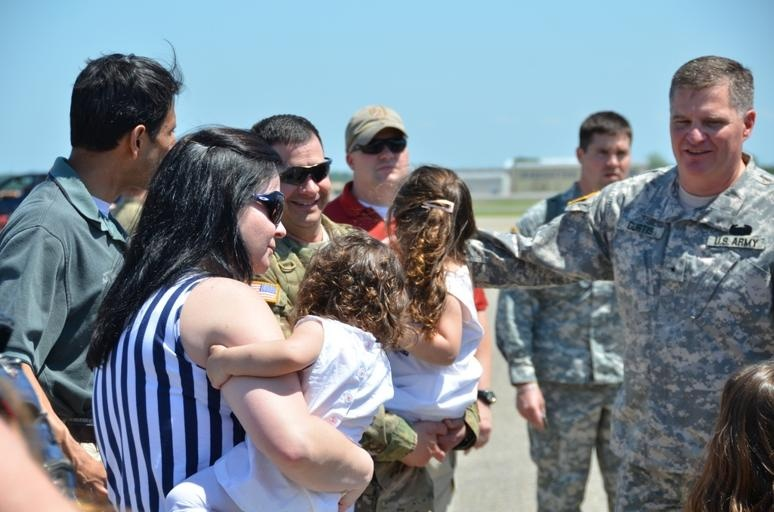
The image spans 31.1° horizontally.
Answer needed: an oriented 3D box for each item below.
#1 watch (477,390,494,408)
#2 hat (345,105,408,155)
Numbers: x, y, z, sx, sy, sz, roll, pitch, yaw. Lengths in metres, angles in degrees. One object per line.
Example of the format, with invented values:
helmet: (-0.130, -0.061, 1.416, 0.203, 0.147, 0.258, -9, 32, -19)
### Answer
watch: (0.574, 0.838, 8.182, 0.094, 0.055, 0.082, 2, 7, 16)
hat: (-0.083, -0.850, 9.030, 0.376, 0.272, 0.528, -13, -4, -13)
